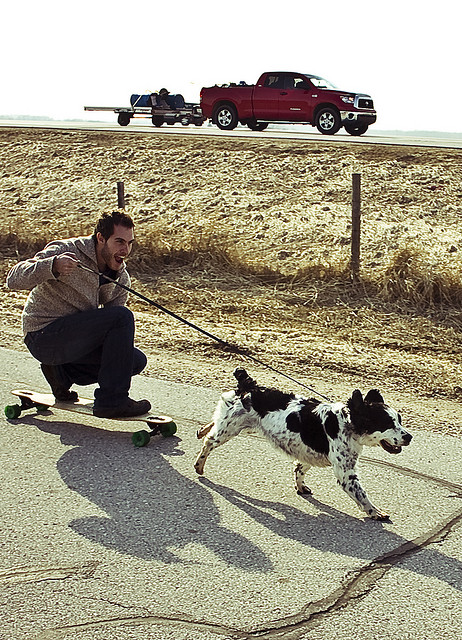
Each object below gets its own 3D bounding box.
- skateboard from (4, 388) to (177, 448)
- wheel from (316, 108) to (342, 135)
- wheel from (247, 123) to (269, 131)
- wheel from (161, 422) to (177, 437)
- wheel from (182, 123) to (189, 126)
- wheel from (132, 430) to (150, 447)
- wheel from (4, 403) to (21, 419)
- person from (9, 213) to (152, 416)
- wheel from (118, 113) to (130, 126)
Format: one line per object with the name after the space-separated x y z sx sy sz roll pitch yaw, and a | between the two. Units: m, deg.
-1.112 0.641 4.682 1.463 0.182 0.444 9 11 21 | skateboard
3.025 -6.140 20.101 0.796 0.690 0.462 3 9 6 | wheel
0.900 -6.712 22.585 0.365 0.070 0.318 0 3 6 | wheel
-0.432 0.758 4.518 0.125 0.098 0.117 4 -1 0 | wheel
-1.862 -7.918 26.294 0.181 0.034 0.150 0 9 -10 | wheel
-0.610 0.789 4.361 0.124 0.119 0.089 2 9 3 | wheel
-1.638 0.684 4.877 0.103 0.083 0.056 24 28 35 | wheel
-1.026 -0.042 4.529 0.913 1.396 0.728 0 9 -10 | person
-4.512 -8.420 27.238 0.443 0.410 0.377 0 9 -11 | wheel
